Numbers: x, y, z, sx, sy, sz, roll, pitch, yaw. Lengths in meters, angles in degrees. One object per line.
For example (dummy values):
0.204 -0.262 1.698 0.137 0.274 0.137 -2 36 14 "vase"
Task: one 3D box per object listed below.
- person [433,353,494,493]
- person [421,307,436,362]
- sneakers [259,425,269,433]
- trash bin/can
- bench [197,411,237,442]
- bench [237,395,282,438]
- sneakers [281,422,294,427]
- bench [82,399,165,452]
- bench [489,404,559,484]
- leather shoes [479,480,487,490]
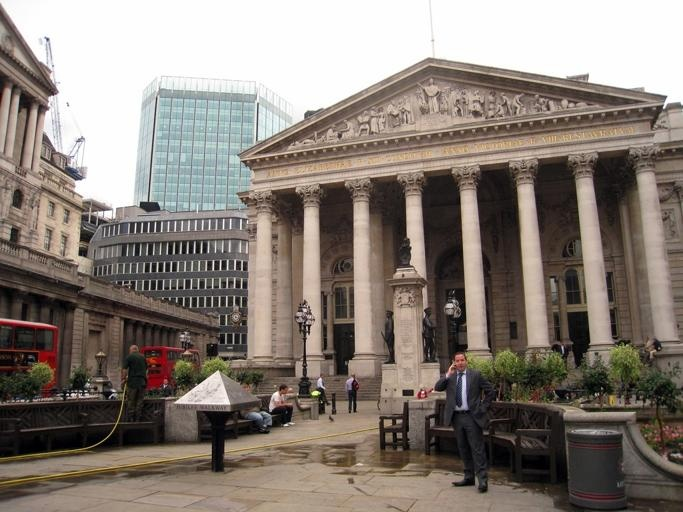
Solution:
2.883 3.666 13.356 1.064 3.011 0.578 -6 -15 12 "person"
3.800 3.396 26.221 0.504 2.394 0.977 -4 -15 7 "person"
-2.687 6.089 21.122 0.255 0.259 0.456 -11 -17 31 "sneakers"
5.450 4.421 12.657 1.454 1.524 1.379 -3 -9 19 "trash bin/can"
-3.953 5.463 19.280 0.763 0.844 1.583 -14 -19 38 "bench"
-2.994 5.768 21.050 0.646 0.869 1.468 -9 -16 25 "bench"
-2.124 6.552 23.289 0.514 0.213 0.174 -6 -9 26 "sneakers"
-6.625 5.049 18.209 2.106 1.512 1.444 -1 -15 -4 "bench"
4.538 4.553 15.037 0.879 1.221 2.528 -21 -13 -7 "bench"
3.090 4.966 12.918 0.255 0.237 0.103 10 -19 -40 "leather shoes"
